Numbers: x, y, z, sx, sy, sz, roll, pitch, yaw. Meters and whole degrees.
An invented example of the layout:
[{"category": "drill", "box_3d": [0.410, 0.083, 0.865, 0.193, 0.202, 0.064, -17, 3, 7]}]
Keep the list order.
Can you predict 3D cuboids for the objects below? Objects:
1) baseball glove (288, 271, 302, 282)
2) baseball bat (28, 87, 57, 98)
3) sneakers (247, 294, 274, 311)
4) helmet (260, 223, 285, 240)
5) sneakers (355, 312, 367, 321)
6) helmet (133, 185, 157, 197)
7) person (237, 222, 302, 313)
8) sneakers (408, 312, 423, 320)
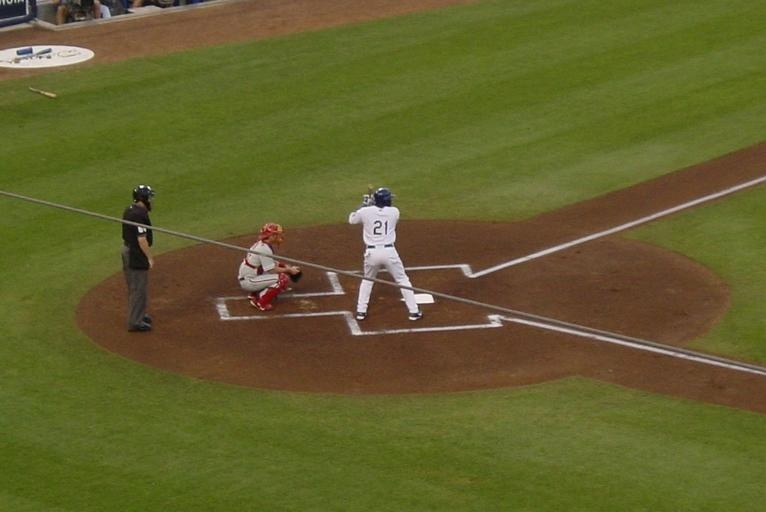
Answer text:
[{"category": "baseball glove", "box_3d": [-1.591, 0.375, 26.997, 0.226, 0.168, 0.059, 8, -21, 42]}, {"category": "baseball bat", "box_3d": [-7.421, -3.520, 32.267, 1.014, 0.107, 0.165, 11, 11, 27]}, {"category": "sneakers", "box_3d": [-2.316, 0.837, 26.851, 0.600, 0.189, 0.180, 17, 7, 10]}, {"category": "helmet", "box_3d": [-2.034, -0.448, 26.888, 0.483, 0.277, 0.306, -15, 22, -10]}, {"category": "sneakers", "box_3d": [-0.425, 1.071, 26.613, 0.216, 0.145, 0.497, 0, 1, 4]}, {"category": "helmet", "box_3d": [-4.180, -1.109, 25.973, 0.422, 0.147, 0.229, -7, 15, -2]}, {"category": "person", "box_3d": [-2.096, 0.276, 27.186, 1.549, 1.550, 1.022, -5, 46, -17]}, {"category": "sneakers", "box_3d": [0.542, 1.069, 26.648, 0.184, 0.153, 0.420, -3, -1, 4]}]
